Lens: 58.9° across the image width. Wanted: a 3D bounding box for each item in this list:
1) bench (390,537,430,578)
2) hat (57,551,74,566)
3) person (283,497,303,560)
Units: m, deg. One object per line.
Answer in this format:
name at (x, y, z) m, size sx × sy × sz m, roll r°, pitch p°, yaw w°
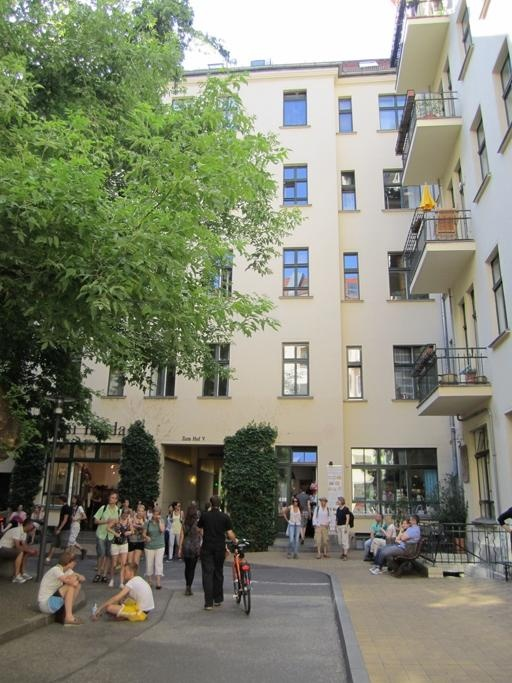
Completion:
bench at (3.988, 5.656, 12.115) m, size 0.947 × 0.928 × 1.531 m, roll -4°, pitch -18°, yaw 15°
hat at (-2.767, 3.155, 6.666) m, size 0.185 × 0.180 × 0.341 m, roll 8°, pitch -19°, yaw -21°
person at (1.375, 6.905, 17.059) m, size 0.590 × 2.103 × 1.252 m, roll 0°, pitch -17°, yaw 4°
